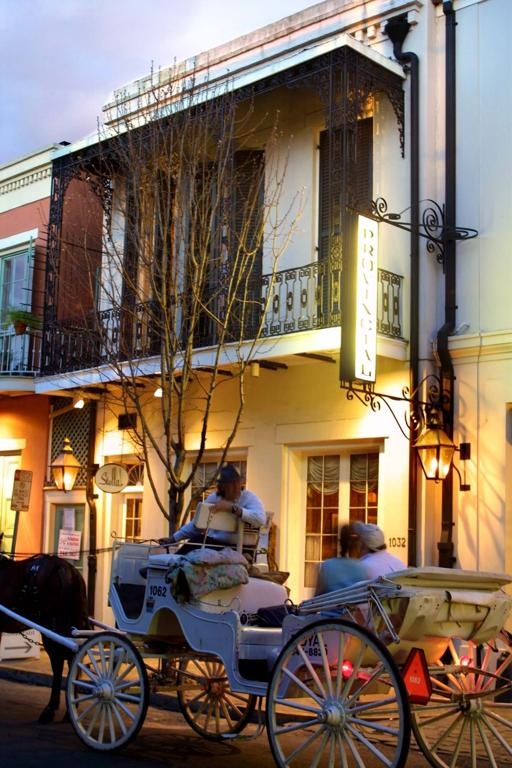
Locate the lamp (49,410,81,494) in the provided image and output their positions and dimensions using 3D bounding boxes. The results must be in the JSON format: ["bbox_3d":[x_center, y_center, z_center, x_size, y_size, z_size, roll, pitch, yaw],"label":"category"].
[{"bbox_3d":[-3.280,1.216,15.004,0.388,1.172,0.456,-14,-19,40],"label":"lamp"}]

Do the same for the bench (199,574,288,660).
[{"bbox_3d":[-0.023,1.533,5.851,0.510,0.379,0.337,-5,-21,24],"label":"bench"}]

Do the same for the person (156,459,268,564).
[{"bbox_3d":[-0.316,1.007,6.280,0.608,0.928,0.704,1,-13,31],"label":"person"}]

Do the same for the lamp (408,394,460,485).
[{"bbox_3d":[2.000,0.648,9.832,0.460,0.853,0.417,-4,-7,36],"label":"lamp"}]
